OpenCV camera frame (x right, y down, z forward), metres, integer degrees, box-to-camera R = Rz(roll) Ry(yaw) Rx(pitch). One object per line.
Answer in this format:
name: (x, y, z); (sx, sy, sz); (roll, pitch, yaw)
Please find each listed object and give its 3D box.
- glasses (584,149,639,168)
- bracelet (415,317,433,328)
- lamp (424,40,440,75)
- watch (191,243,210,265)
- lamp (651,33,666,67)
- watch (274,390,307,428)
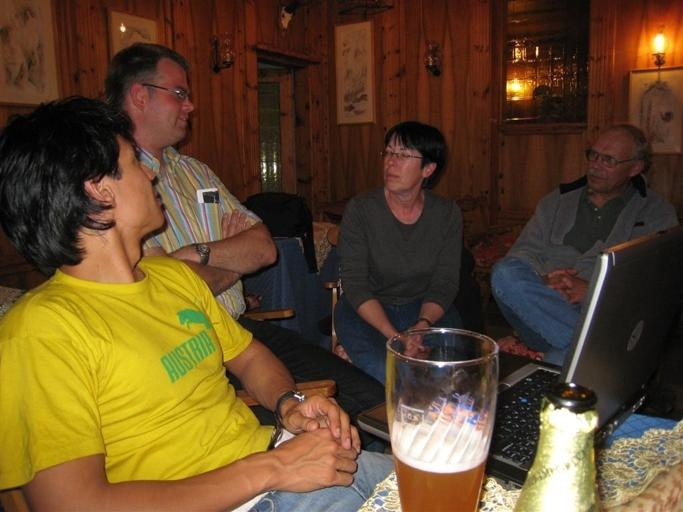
glasses: (1.437, -0.521, 2.844); (0.253, 0.090, 0.167); (3, 14, 25)
bracelet: (0.403, 0.323, 2.600); (0.042, 0.032, 0.058); (2, 3, 17)
lamp: (1.034, -2.219, 6.063); (0.163, 0.365, 0.252); (1, 14, 17)
watch: (-0.603, -0.009, 2.265); (0.032, 0.080, 0.080); (-11, -30, -19)
lamp: (3.219, -2.073, 5.415); (0.131, 0.340, 0.103); (4, 16, 29)
watch: (-0.153, 0.437, 1.523); (0.025, 0.090, 0.092); (11, 7, -42)
